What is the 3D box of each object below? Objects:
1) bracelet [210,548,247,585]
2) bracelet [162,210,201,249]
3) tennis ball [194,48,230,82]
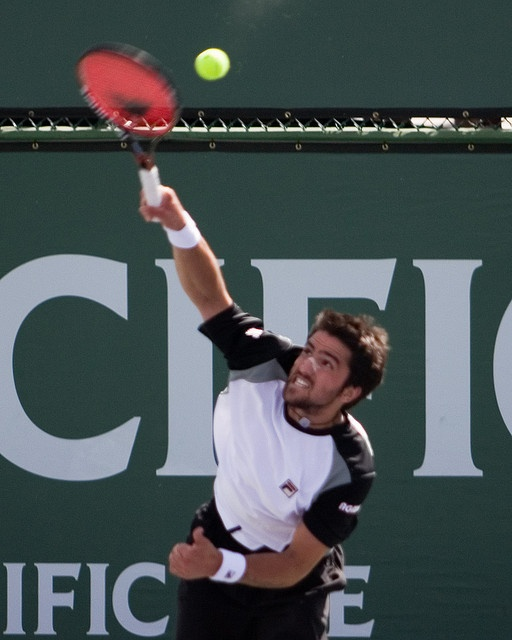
[{"bbox_3d":[-0.104,0.932,4.968,0.102,0.136,0.107,11,80,-6],"label":"bracelet"},{"bbox_3d":[-0.304,-0.327,5.044,0.115,0.139,0.146,-31,34,17],"label":"bracelet"},{"bbox_3d":[-0.197,-1.150,5.910,0.152,0.107,0.103,-24,43,-8],"label":"tennis ball"}]
